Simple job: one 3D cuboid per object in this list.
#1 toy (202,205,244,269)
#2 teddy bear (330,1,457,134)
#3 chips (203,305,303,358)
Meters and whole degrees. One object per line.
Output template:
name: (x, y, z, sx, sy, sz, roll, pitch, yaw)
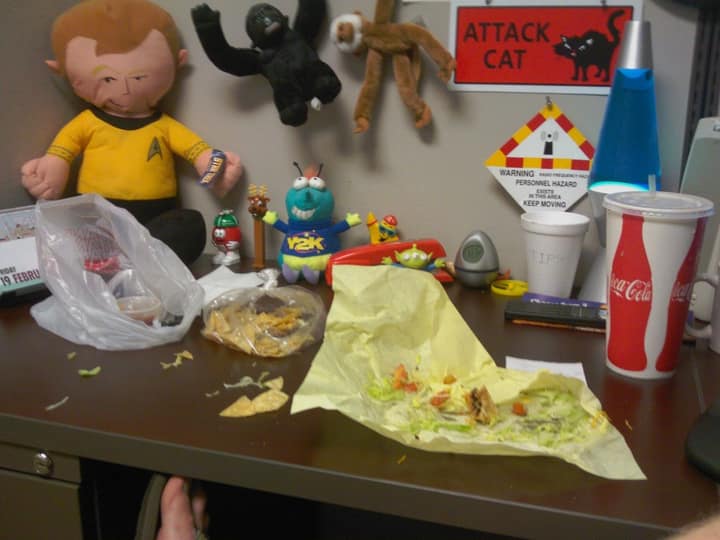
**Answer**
toy: (-0.273, -0.063, 1.213, 0.094, 0.178, 0.098, 2, 8, 9)
teddy bear: (0.057, -0.382, 1.102, 0.223, 0.227, 0.098, -2, 23, -3)
chips: (-0.160, 0.106, 0.922, 0.149, 0.057, 0.158, 6, -1, -32)
